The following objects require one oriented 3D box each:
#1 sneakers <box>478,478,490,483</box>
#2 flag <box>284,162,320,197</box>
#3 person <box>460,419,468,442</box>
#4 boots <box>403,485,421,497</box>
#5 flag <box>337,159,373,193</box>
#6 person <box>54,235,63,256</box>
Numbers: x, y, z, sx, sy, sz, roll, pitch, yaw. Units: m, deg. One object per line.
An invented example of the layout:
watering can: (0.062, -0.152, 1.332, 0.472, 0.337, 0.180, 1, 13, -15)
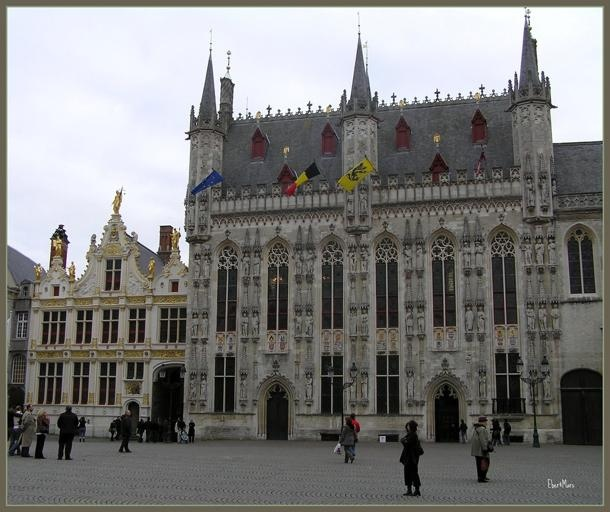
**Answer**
sneakers: (5.434, 6.815, 24.545, 0.329, 0.152, 0.116, 0, -2, -6)
flag: (-0.187, -4.797, 48.105, 3.269, 1.192, 0.359, -4, 30, 50)
person: (8.613, 9.555, 43.900, 0.338, 1.105, 0.837, -2, -12, 11)
boots: (2.948, 6.452, 22.257, 0.468, 0.258, 0.915, -2, -13, 8)
flag: (3.074, -4.729, 47.589, 1.926, 1.935, 1.993, -1, -12, 6)
person: (-16.800, -0.638, 55.386, 0.462, 1.570, 1.791, 3, -13, -16)
